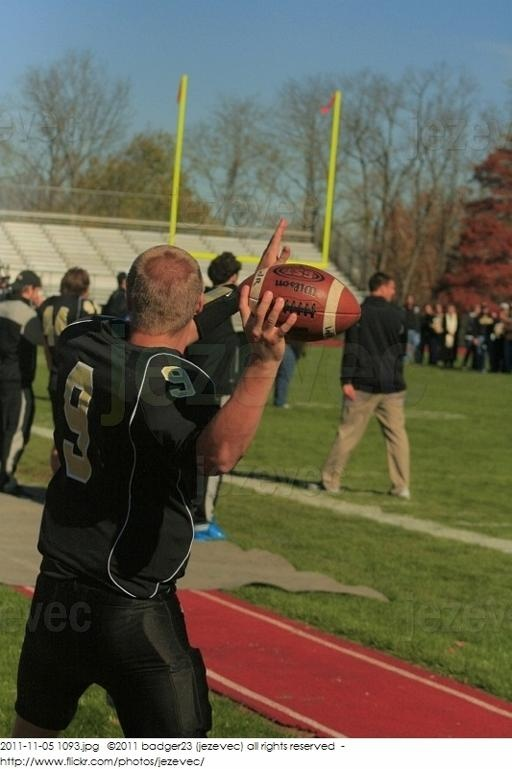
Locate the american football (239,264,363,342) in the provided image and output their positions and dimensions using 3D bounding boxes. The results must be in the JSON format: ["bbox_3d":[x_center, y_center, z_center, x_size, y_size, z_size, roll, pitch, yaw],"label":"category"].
[{"bbox_3d":[0.128,-0.255,2.519,0.403,0.229,0.251,11,14,8],"label":"american football"}]
